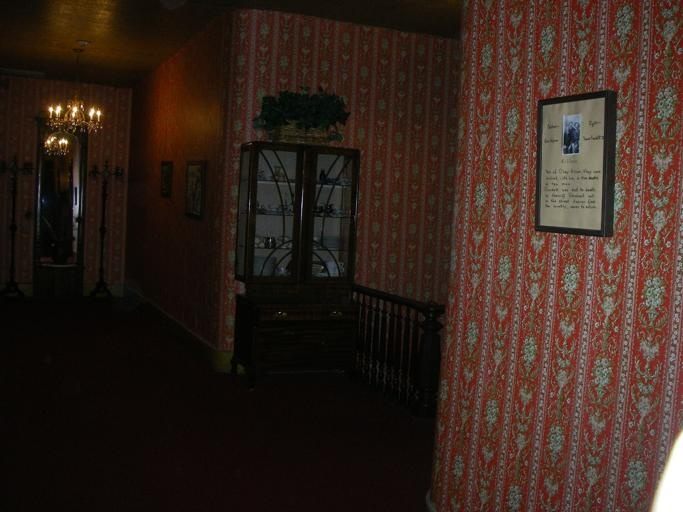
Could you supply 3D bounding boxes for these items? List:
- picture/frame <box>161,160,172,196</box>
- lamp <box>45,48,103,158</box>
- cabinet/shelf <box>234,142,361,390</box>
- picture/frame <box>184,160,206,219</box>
[{"bbox_3d":[-2.538,-1.142,8.301,0.055,0.588,0.468,-1,7,-22],"label":"picture/frame"},{"bbox_3d":[-4.374,-2.373,9.325,0.945,1.510,2.187,-3,12,-28],"label":"lamp"},{"bbox_3d":[-0.447,0.047,5.674,1.231,2.311,0.624,0,9,-9],"label":"cabinet/shelf"},{"bbox_3d":[-1.800,-0.829,7.057,0.066,0.700,0.663,-1,6,-22],"label":"picture/frame"}]
